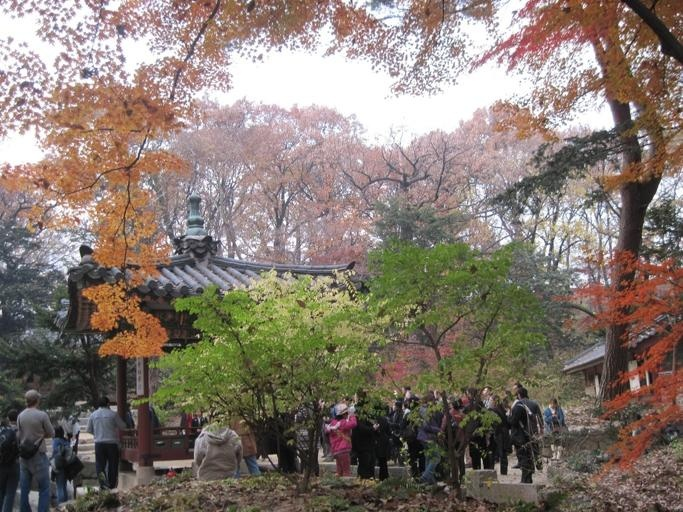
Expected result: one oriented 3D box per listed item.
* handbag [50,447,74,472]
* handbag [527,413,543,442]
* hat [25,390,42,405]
[{"bbox_3d":[-6.469,4.700,23.272,0.445,0.612,0.606,9,-42,-17],"label":"handbag"},{"bbox_3d":[4.523,3.987,23.482,0.141,0.561,0.425,-9,-16,40],"label":"handbag"},{"bbox_3d":[-6.691,3.012,21.651,0.318,0.225,0.411,7,23,-15],"label":"hat"}]
